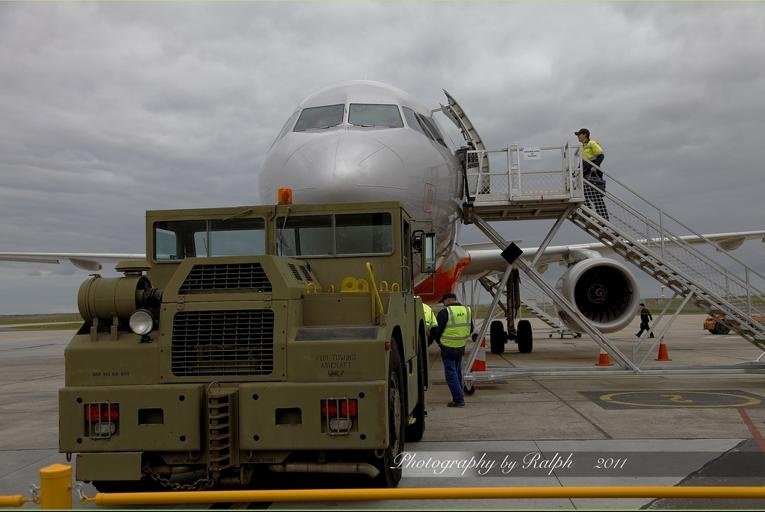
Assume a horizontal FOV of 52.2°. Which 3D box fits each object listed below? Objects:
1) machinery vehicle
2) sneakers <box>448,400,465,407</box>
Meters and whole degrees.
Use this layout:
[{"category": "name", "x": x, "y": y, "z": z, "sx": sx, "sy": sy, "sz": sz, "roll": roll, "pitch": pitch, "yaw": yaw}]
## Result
[{"category": "machinery vehicle", "x": -1.358, "y": 1.066, "z": 12.713, "sx": 4.449, "sy": 3.571, "sz": 6.990, "roll": -1, "pitch": 2, "yaw": 5}, {"category": "sneakers", "x": 1.347, "y": 2.703, "z": 14.174, "sx": 0.274, "sy": 0.115, "sz": 0.126, "roll": 3, "pitch": -3, "yaw": 16}]
